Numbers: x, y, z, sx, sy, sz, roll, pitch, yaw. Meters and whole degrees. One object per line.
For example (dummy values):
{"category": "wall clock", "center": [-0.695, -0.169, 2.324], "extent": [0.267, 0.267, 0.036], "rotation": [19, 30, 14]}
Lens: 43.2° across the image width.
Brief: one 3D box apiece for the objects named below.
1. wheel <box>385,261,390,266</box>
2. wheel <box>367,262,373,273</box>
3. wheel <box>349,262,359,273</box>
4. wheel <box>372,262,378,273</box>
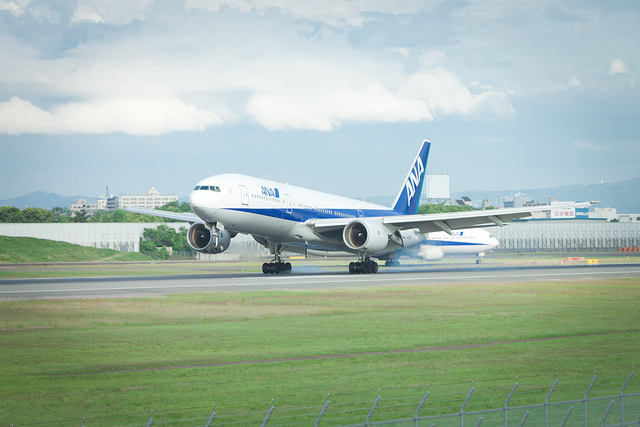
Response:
{"category": "wheel", "center": [5.003, 3.747, 60.938], "extent": [0.375, 0.315, 0.081], "rotation": [8, 9, -8]}
{"category": "wheel", "center": [3.172, 3.406, 51.153], "extent": [0.577, 0.487, 0.536], "rotation": [1, 4, 0]}
{"category": "wheel", "center": [2.103, 3.458, 51.738], "extent": [0.528, 0.628, 0.210], "rotation": [5, -8, 3]}
{"category": "wheel", "center": [3.482, 3.450, 51.590], "extent": [0.326, 0.726, 0.798], "rotation": [1, -8, 17]}
